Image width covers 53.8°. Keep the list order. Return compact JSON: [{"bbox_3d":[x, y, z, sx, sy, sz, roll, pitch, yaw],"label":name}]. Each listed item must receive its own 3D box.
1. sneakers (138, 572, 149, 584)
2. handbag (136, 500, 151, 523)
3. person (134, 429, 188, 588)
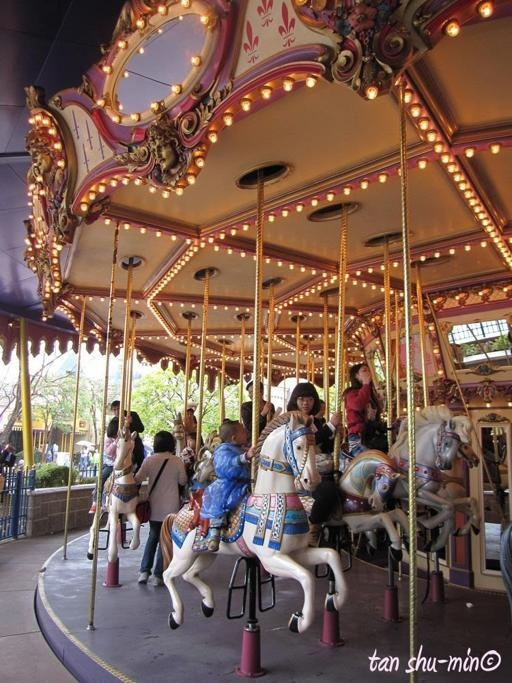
[{"bbox_3d":[-1.238,2.589,5.524,0.066,0.124,0.128,11,-25,-19],"label":"sneakers"},{"bbox_3d":[-1.235,1.885,5.552,0.144,0.261,0.345,2,-14,-6],"label":"handbag"},{"bbox_3d":[-1.091,1.865,5.805,0.566,1.643,0.922,2,-14,-7],"label":"person"}]
